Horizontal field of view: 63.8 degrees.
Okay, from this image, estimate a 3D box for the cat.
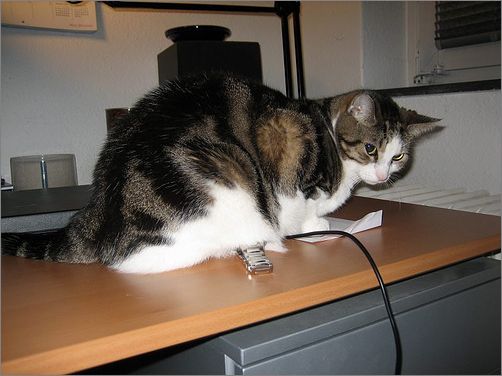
[{"bbox_3d":[0.121,-0.081,1.227,1.366,0.507,0.425,-8,29,-15],"label":"cat"}]
